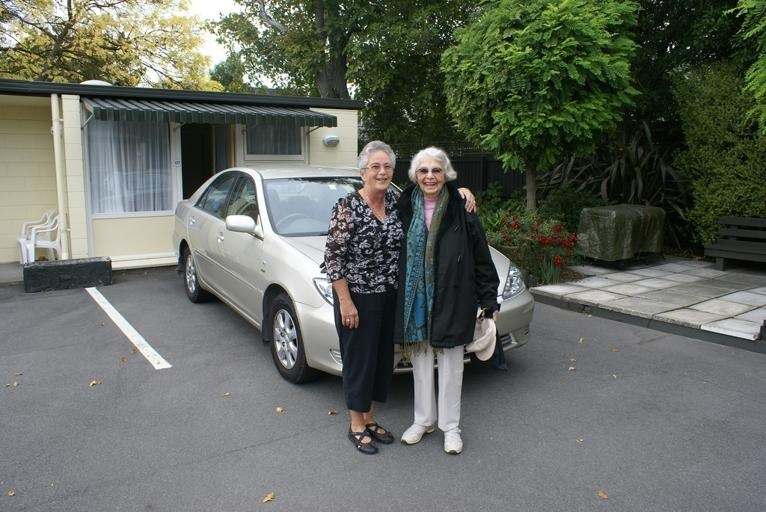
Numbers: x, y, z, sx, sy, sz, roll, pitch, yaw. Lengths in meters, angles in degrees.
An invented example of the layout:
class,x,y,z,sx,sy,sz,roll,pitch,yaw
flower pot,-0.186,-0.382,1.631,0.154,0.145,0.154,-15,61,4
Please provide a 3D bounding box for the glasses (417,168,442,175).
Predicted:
class,x,y,z,sx,sy,sz,roll,pitch,yaw
glasses,0.373,-0.656,3.793,0.175,0.047,0.039,-3,11,1

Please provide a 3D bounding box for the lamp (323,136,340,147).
class,x,y,z,sx,sy,sz,roll,pitch,yaw
lamp,-1.191,-2.607,11.200,0.270,0.127,0.254,1,-16,-10

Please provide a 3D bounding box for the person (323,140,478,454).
class,x,y,z,sx,sy,sz,roll,pitch,yaw
person,-0.141,0.351,3.888,0.643,2.451,0.374,-4,11,-8

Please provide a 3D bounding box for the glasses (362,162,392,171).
class,x,y,z,sx,sy,sz,roll,pitch,yaw
glasses,-0.042,-0.688,3.769,0.254,0.076,0.132,-3,11,-2

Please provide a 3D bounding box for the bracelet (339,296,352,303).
class,x,y,z,sx,sy,sz,roll,pitch,yaw
bracelet,-0.295,0.335,3.740,0.056,0.065,0.065,-3,-8,31

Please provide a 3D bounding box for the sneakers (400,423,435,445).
class,x,y,z,sx,sy,sz,roll,pitch,yaw
sneakers,0.297,1.472,4.137,0.302,0.140,0.126,-10,4,-37

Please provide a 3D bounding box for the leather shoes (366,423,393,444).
class,x,y,z,sx,sy,sz,roll,pitch,yaw
leather shoes,-0.025,1.481,4.087,0.100,0.087,0.278,-3,5,-31

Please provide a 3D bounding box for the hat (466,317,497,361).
class,x,y,z,sx,sy,sz,roll,pitch,yaw
hat,0.817,0.671,3.972,0.145,0.327,0.250,-16,-10,37

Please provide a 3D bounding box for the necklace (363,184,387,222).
class,x,y,z,sx,sy,sz,roll,pitch,yaw
necklace,-0.069,-0.403,3.766,0.226,0.302,0.161,-10,3,-24

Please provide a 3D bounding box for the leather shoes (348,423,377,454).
class,x,y,z,sx,sy,sz,roll,pitch,yaw
leather shoes,-0.177,1.500,4.030,0.113,0.101,0.254,-5,12,-30
